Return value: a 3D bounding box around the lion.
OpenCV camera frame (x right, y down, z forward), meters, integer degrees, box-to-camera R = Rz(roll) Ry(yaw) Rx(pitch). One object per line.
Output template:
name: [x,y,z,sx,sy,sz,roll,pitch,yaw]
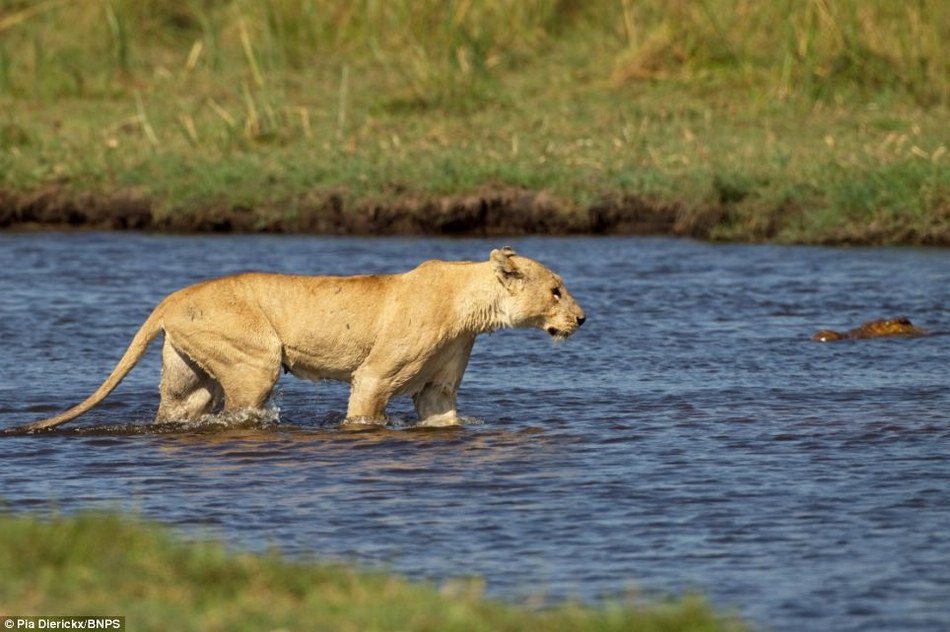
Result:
lion: [-2.655,0.557,29.524,8.436,2.688,1.576,0,9,4]
